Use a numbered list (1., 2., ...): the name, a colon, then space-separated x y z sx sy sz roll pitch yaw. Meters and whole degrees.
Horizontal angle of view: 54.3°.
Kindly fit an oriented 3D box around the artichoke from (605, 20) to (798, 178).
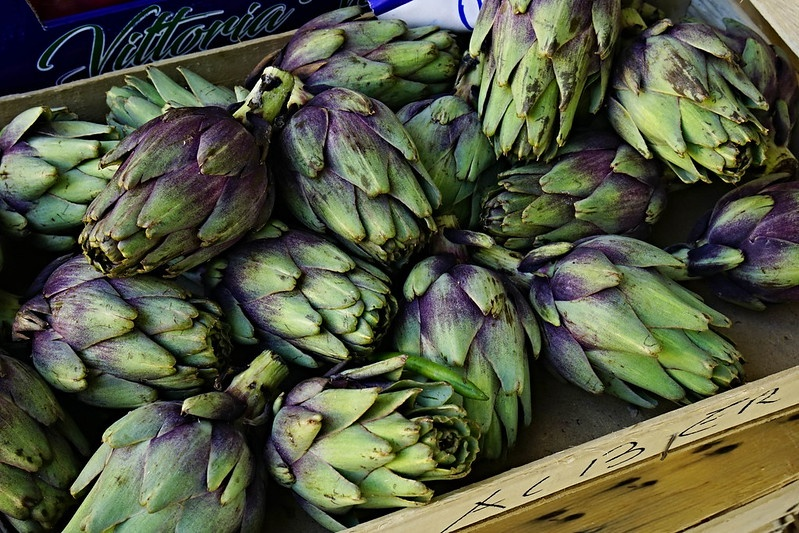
1. artichoke: 0.739 -0.416 2.061 0.419 0.277 0.472 -13 87 -6

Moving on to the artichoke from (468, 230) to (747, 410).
1. artichoke: 0.545 0.123 1.996 0.645 0.308 0.282 20 87 16
